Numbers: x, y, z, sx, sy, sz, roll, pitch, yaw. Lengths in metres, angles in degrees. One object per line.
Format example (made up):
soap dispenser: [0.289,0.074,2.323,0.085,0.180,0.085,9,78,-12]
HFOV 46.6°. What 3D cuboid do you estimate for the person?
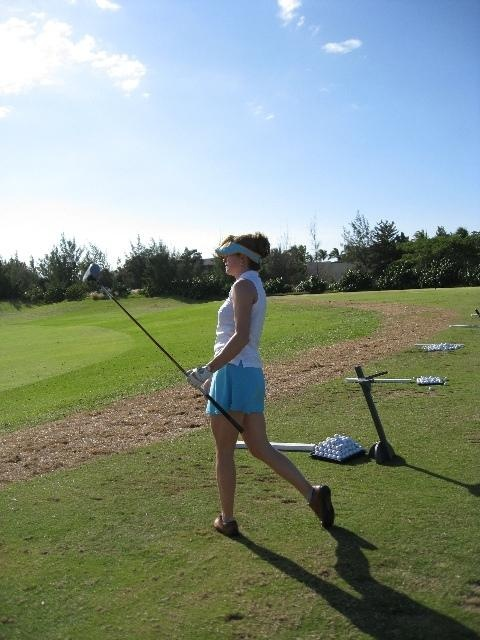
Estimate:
person: [0.117,0.366,3.499,0.788,1.832,0.601,-3,4,5]

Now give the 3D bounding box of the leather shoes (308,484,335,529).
leather shoes: [0.492,1.097,3.321,0.127,0.298,0.112,-13,16,26]

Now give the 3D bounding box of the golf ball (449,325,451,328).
golf ball: [5.185,0.158,13.787,0.021,0.037,0.038,-3,-23,-1]

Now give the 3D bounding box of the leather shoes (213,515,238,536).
leather shoes: [-0.084,1.252,3.393,0.073,0.066,0.158,0,-4,-21]

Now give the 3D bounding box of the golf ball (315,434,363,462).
golf ball: [0.790,1.081,4.648,0.231,0.083,0.222,-2,4,0]

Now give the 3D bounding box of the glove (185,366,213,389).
glove: [-0.245,0.361,3.381,0.074,0.129,0.159,-7,-21,-44]
